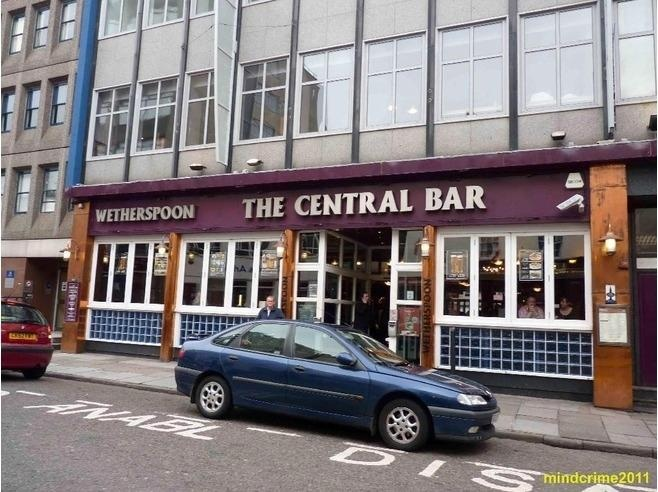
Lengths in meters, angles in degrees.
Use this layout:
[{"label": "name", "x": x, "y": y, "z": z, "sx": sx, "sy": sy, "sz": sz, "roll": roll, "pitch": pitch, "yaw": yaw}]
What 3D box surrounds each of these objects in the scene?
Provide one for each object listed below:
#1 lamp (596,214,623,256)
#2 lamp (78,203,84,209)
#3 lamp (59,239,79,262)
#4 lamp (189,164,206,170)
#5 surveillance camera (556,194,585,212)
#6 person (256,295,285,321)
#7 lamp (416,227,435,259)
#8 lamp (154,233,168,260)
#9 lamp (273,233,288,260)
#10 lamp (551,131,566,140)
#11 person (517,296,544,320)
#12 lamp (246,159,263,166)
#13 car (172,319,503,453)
[{"label": "lamp", "x": 6.503, "y": -0.234, "z": 12.981, "sx": 0.508, "sy": 0.892, "sz": 0.357, "roll": 1, "pitch": -3, "yaw": 25}, {"label": "lamp", "x": -8.500, "y": -1.385, "z": 19.237, "sx": 0.178, "sy": 0.212, "sz": 0.165, "roll": -1, "pitch": -7, "yaw": -5}, {"label": "lamp", "x": -8.831, "y": 0.107, "z": 19.092, "sx": 0.383, "sy": 0.724, "sz": 0.589, "roll": 5, "pitch": -4, "yaw": -40}, {"label": "lamp", "x": -4.174, "y": -2.509, "z": 17.617, "sx": 0.510, "sy": 0.241, "sz": 0.286, "roll": 2, "pitch": -3, "yaw": 19}, {"label": "surveillance camera", "x": 5.785, "y": -1.042, "z": 13.496, "sx": 0.533, "sy": 0.240, "sz": 0.384, "roll": -16, "pitch": 18, "yaw": 14}, {"label": "person", "x": -1.553, "y": 1.655, "z": 15.084, "sx": 0.666, "sy": 0.923, "sz": 0.492, "roll": -6, "pitch": -14, "yaw": 21}, {"label": "lamp", "x": 2.526, "y": -0.112, "z": 14.613, "sx": 0.384, "sy": 0.847, "sz": 0.402, "roll": 2, "pitch": -3, "yaw": 16}, {"label": "lamp", "x": -5.351, "y": 0.018, "z": 18.008, "sx": 0.343, "sy": 0.842, "sz": 0.690, "roll": 4, "pitch": -3, "yaw": -23}, {"label": "lamp", "x": -1.368, "y": -0.026, "z": 16.050, "sx": 0.254, "sy": 0.724, "sz": 0.396, "roll": 3, "pitch": -3, "yaw": 7}, {"label": "lamp", "x": 5.643, "y": -2.713, "z": 13.811, "sx": 0.307, "sy": 0.196, "sz": 0.240, "roll": 2, "pitch": -3, "yaw": 22}, {"label": "person", "x": 4.989, "y": 1.625, "z": 14.134, "sx": 0.861, "sy": 0.665, "sz": 0.489, "roll": -3, "pitch": -12, "yaw": 18}, {"label": "lamp", "x": -2.256, "y": -2.524, "z": 16.844, "sx": 0.484, "sy": 0.226, "sz": 0.309, "roll": 2, "pitch": -3, "yaw": 7}, {"label": "car", "x": 0.069, "y": 2.481, "z": 10.413, "sx": 5.424, "sy": 1.669, "sz": 2.246, "roll": 0, "pitch": -7, "yaw": 19}]
